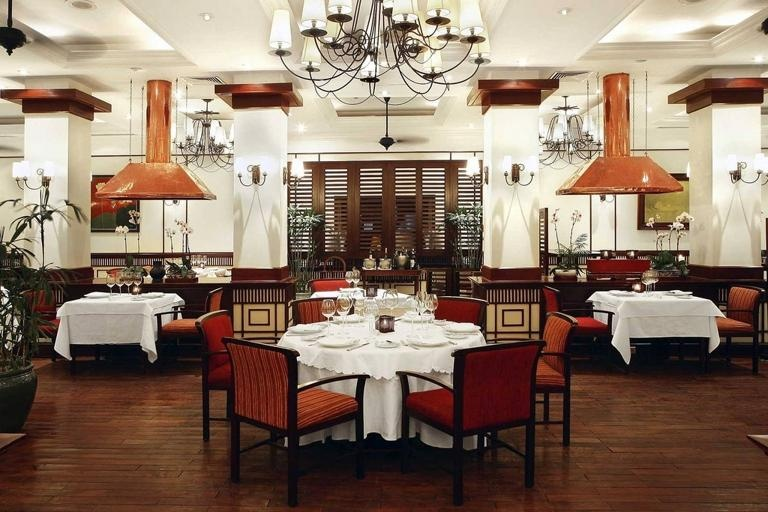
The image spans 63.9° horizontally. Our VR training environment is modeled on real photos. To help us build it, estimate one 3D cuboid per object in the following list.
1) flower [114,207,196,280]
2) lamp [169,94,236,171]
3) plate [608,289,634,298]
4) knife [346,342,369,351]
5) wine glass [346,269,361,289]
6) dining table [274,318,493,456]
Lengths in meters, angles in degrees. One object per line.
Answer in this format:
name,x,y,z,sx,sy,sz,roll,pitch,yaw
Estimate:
flower,-4.319,-0.289,11.660,1.502,1.431,0.406,0,-3,-6
lamp,-3.339,-2.399,11.510,1.439,1.111,1.359,1,-5,-7
plate,3.211,0.506,8.324,0.325,0.040,0.357,6,15,22
knife,-0.241,0.841,5.739,0.060,0.017,0.434,3,3,25
wine glass,-0.391,0.299,7.739,0.146,0.264,0.324,1,14,2
dining table,-0.005,1.255,5.606,1.412,0.654,1.338,0,-2,1
